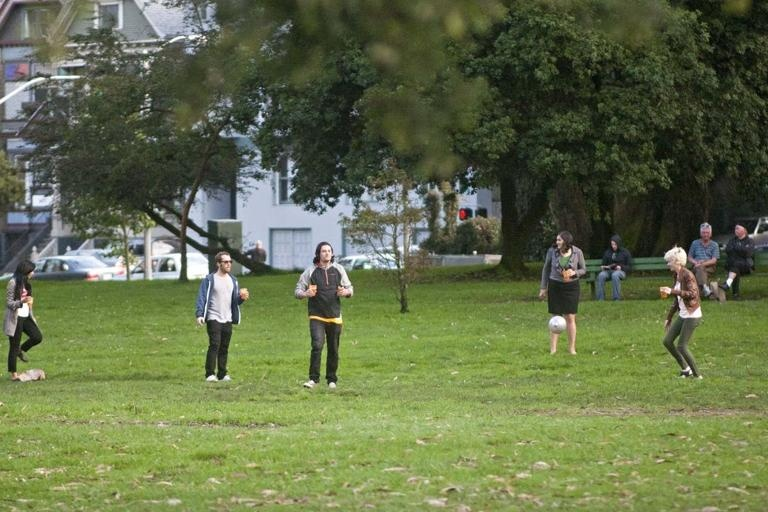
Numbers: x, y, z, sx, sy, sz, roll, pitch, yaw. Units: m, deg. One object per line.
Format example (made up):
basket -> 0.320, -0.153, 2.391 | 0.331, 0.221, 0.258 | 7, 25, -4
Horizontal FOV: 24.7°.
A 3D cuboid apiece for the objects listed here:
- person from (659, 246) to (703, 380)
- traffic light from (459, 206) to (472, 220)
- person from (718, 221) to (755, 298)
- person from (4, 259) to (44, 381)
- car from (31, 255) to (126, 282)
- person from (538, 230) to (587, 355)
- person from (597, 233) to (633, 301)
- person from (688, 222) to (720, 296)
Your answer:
person -> 7.119, 1.365, 41.663 | 1.299, 2.982, 1.180 | 0, -2, 2
traffic light -> 2.787, -1.382, 58.811 | 0.456, 0.378, 0.421 | 5, 11, 18
person -> 10.087, 0.167, 49.645 | 0.963, 2.263, 0.922 | 3, 0, 5
person -> -9.092, 1.604, 43.428 | 0.702, 2.736, 1.386 | 2, 15, 15
car -> -12.173, 0.556, 68.782 | 3.737, 1.118, 1.614 | 2, 2, 17
person -> 4.473, 0.939, 43.963 | 1.248, 2.903, 1.049 | 2, 2, 26
person -> 6.774, 0.361, 51.417 | 0.925, 1.908, 1.143 | 1, 2, 26
person -> 8.775, 0.031, 48.218 | 1.048, 2.597, 1.050 | 0, -1, -1
